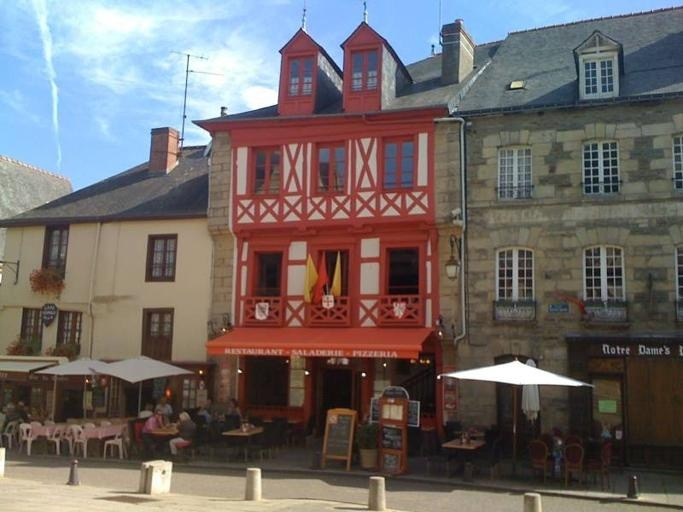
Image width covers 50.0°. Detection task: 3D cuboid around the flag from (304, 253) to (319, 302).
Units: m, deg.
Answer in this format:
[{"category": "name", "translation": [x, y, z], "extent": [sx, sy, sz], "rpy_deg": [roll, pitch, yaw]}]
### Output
[{"category": "flag", "translation": [-1.016, 0.759, 24.534], "extent": [0.446, 1.640, 0.518], "rpy_deg": [0, -8, -2]}]

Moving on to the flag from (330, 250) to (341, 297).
[{"category": "flag", "translation": [-0.153, 0.650, 24.626], "extent": [0.339, 1.603, 0.719], "rpy_deg": [0, -8, -1]}]

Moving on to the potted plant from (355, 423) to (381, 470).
[{"category": "potted plant", "translation": [0.719, 5.341, 20.720], "extent": [0.839, 1.203, 0.830], "rpy_deg": [-4, -18, 21]}]

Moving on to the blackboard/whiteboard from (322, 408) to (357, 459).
[{"category": "blackboard/whiteboard", "translation": [0.046, 5.199, 20.771], "extent": [1.075, 1.545, 1.004], "rpy_deg": [-6, -7, 42]}]

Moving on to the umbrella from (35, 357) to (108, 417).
[{"category": "umbrella", "translation": [-8.787, 4.664, 24.413], "extent": [2.416, 1.585, 2.400], "rpy_deg": [1, -10, 2]}]
